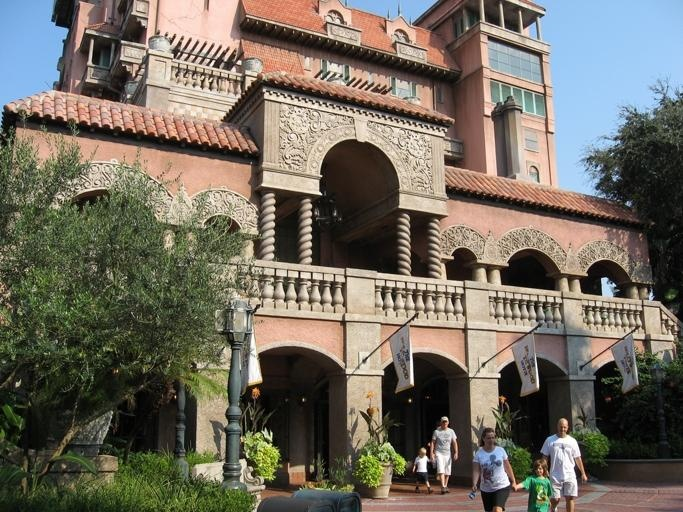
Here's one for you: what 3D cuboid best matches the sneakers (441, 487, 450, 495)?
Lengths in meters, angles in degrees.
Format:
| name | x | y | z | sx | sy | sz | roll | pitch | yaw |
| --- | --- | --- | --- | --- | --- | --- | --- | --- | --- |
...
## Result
| name | x | y | z | sx | sy | sz | roll | pitch | yaw |
| --- | --- | --- | --- | --- | --- | --- | --- | --- | --- |
| sneakers | 2.934 | 6.675 | 21.590 | 0.143 | 0.176 | 0.389 | -3 | -8 | 13 |

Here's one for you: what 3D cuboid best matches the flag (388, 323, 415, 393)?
| name | x | y | z | sx | sy | sz | roll | pitch | yaw |
| --- | --- | --- | --- | --- | --- | --- | --- | --- | --- |
| flag | 1.676 | 2.807 | 21.597 | 0.651 | 1.904 | 1.229 | 1 | -19 | 3 |

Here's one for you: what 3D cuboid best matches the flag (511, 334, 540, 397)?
| name | x | y | z | sx | sy | sz | roll | pitch | yaw |
| --- | --- | --- | --- | --- | --- | --- | --- | --- | --- |
| flag | 5.637 | 3.272 | 23.404 | 0.703 | 1.964 | 1.630 | -2 | -19 | 12 |

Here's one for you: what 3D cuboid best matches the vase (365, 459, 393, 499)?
| name | x | y | z | sx | sy | sz | roll | pitch | yaw |
| --- | --- | --- | --- | --- | --- | --- | --- | --- | --- |
| vase | 1.088 | 6.170 | 20.817 | 0.794 | 0.710 | 0.821 | 10 | -26 | -24 |

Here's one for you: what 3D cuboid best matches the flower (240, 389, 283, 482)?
| name | x | y | z | sx | sy | sz | roll | pitch | yaw |
| --- | --- | --- | --- | --- | --- | --- | --- | --- | --- |
| flower | -2.167 | 4.956 | 20.122 | 0.741 | 2.241 | 0.939 | -11 | 0 | 12 |

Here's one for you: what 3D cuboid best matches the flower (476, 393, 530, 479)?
| name | x | y | z | sx | sy | sz | roll | pitch | yaw |
| --- | --- | --- | --- | --- | --- | --- | --- | --- | --- |
| flower | 5.108 | 5.460 | 23.514 | 1.079 | 2.253 | 0.927 | -6 | -7 | -18 |
